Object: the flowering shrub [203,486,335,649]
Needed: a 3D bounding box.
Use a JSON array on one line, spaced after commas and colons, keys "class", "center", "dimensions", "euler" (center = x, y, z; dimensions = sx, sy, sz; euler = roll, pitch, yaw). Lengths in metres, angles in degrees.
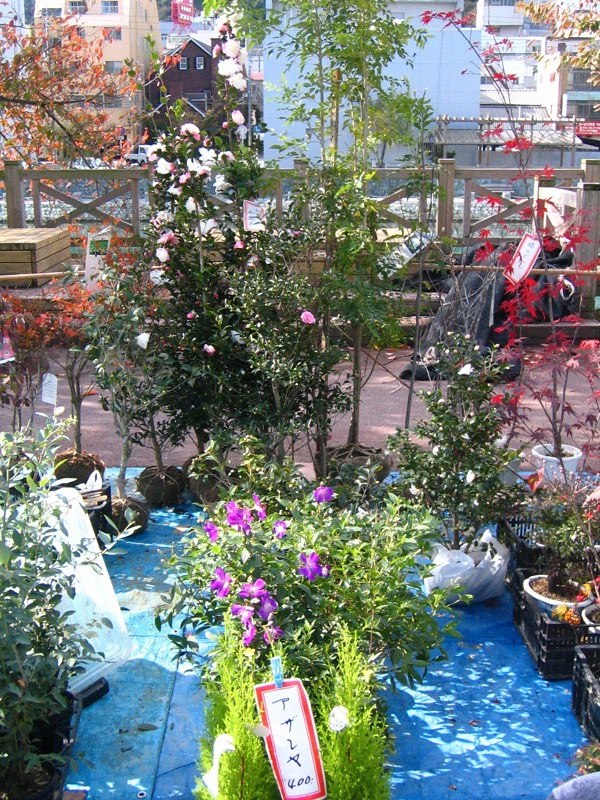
[{"class": "flowering shrub", "center": [-0.087, 0.410, 1.676], "dimensions": [0.329, 0.338, 0.287], "euler": [-12, -29, -13]}]
